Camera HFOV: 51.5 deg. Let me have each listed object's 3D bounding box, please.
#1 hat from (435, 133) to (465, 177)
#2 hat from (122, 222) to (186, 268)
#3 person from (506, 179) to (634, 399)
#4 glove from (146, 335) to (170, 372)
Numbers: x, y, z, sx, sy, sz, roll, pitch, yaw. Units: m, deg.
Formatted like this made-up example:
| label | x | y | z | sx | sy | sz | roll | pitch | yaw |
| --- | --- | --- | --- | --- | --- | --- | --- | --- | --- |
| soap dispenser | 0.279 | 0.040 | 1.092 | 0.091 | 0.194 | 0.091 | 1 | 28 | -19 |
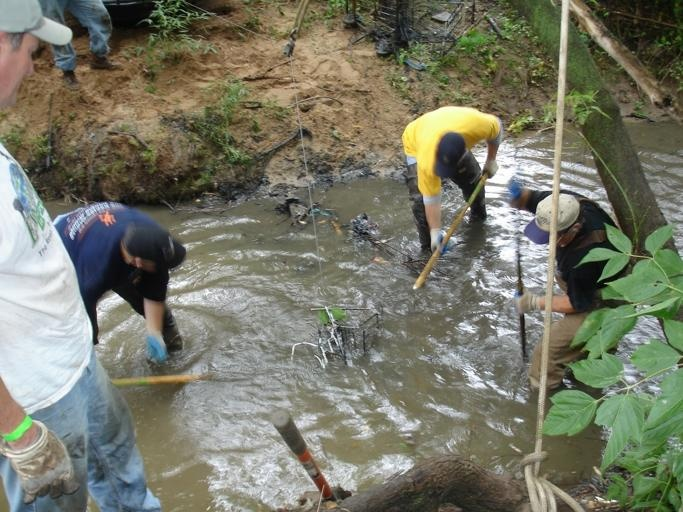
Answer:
| label | x | y | z | sx | sy | sz | roll | pitch | yaw |
| --- | --- | --- | --- | --- | --- | --- | --- | --- | --- |
| hat | 1.046 | -0.963 | 6.776 | 0.188 | 0.297 | 0.378 | -14 | 82 | -17 |
| hat | -1.491 | -0.057 | 5.616 | 0.421 | 0.205 | 0.266 | 20 | 41 | -23 |
| person | 1.990 | 0.326 | 6.413 | 1.220 | 1.949 | 1.056 | 9 | 32 | 23 |
| glove | -1.634 | 0.850 | 6.295 | 0.279 | 0.324 | 0.126 | -3 | 14 | 3 |
